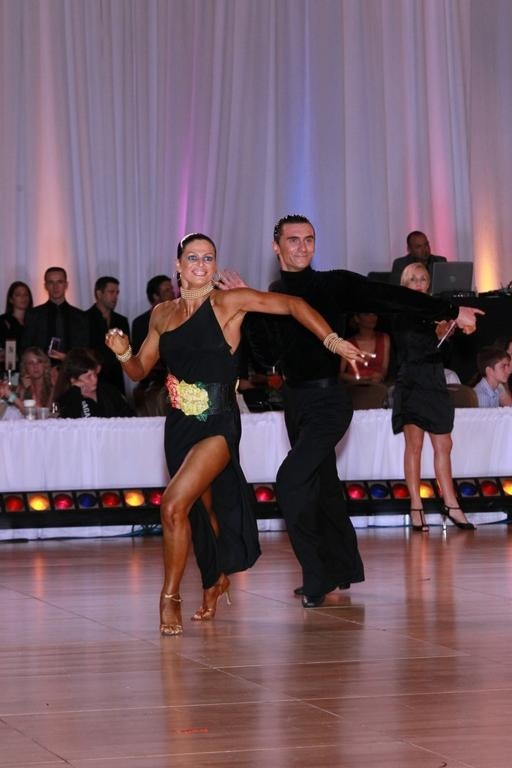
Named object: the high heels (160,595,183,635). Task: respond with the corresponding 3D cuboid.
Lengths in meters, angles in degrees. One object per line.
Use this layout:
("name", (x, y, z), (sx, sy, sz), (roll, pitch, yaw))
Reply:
("high heels", (-0.292, 0.800, 2.630), (0.054, 0.066, 0.160), (-1, 20, -5))

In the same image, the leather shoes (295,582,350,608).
("leather shoes", (0.281, 0.919, 3.250), (0.301, 0.116, 0.100), (4, -5, -42))

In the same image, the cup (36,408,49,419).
("cup", (-1.475, 0.206, 5.245), (0.093, 0.068, 0.084), (5, -7, -19))

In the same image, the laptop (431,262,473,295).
("laptop", (1.786, -0.971, 7.126), (0.448, 0.387, 0.311), (0, 7, -7))

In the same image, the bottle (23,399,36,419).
("bottle", (-1.545, 0.176, 5.192), (0.066, 0.127, 0.093), (-3, -1, -13))

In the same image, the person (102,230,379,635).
("person", (-0.125, 0.162, 2.872), (0.844, 1.462, 0.566), (-3, 0, -1))

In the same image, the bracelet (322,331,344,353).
("bracelet", (0.271, -0.151, 2.757), (0.038, 0.069, 0.076), (11, -28, 20))
